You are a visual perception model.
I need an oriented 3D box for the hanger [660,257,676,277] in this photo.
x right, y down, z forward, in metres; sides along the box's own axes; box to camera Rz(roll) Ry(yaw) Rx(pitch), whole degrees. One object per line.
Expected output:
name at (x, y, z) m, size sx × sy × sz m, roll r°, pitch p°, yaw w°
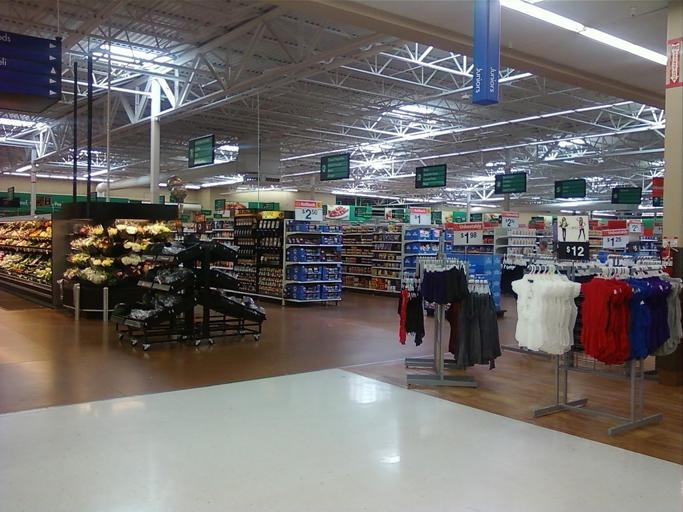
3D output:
hanger at (3.864, 0.121, 6.263) m, size 0.181 × 0.242 × 0.068 m, roll -2°, pitch 3°, yaw -25°
